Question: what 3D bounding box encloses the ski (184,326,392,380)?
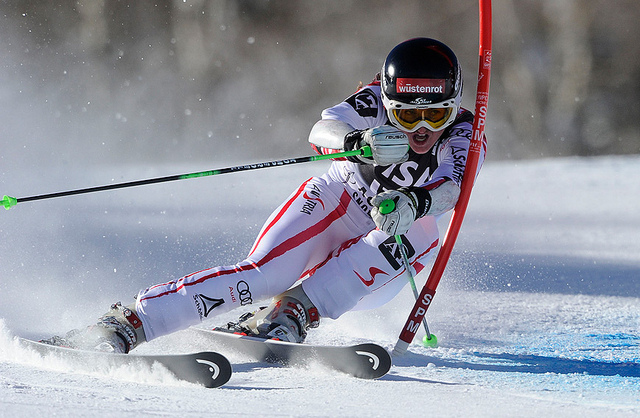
[{"bbox_3d":[-0.354,1.331,6.741,2.170,0.286,0.185,8,5,20],"label":"ski"}]
